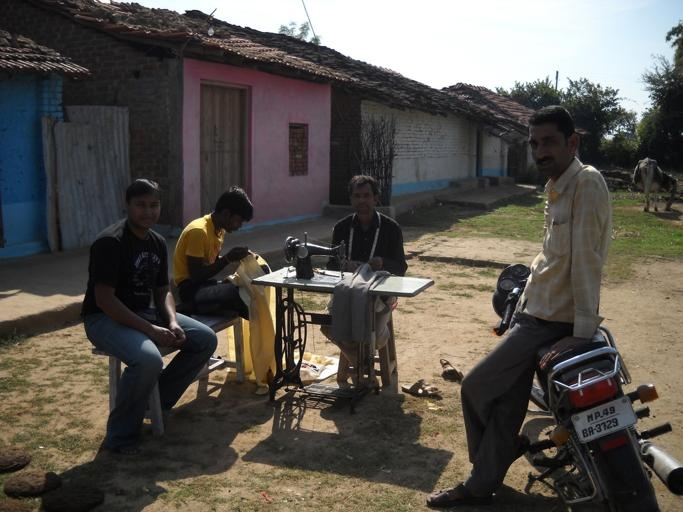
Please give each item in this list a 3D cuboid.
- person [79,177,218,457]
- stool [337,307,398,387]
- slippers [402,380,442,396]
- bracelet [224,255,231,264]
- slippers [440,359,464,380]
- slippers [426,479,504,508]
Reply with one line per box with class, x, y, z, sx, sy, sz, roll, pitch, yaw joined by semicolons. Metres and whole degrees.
person;-1.615;0.408;4.592;0.747;1.993;0.998;8;15;28
stool;0.267;0.867;5.590;0.612;0.832;0.583;1;13;1
slippers;0.763;1.257;5.431;0.241;0.092;0.167;-1;7;8
bracelet;-1.060;0.027;5.294;0.049;0.072;0.018;4;29;17
slippers;1.105;1.142;5.805;0.098;0.129;0.313;-6;12;-14
slippers;0.815;1.571;3.767;0.466;0.174;0.175;0;1;6
